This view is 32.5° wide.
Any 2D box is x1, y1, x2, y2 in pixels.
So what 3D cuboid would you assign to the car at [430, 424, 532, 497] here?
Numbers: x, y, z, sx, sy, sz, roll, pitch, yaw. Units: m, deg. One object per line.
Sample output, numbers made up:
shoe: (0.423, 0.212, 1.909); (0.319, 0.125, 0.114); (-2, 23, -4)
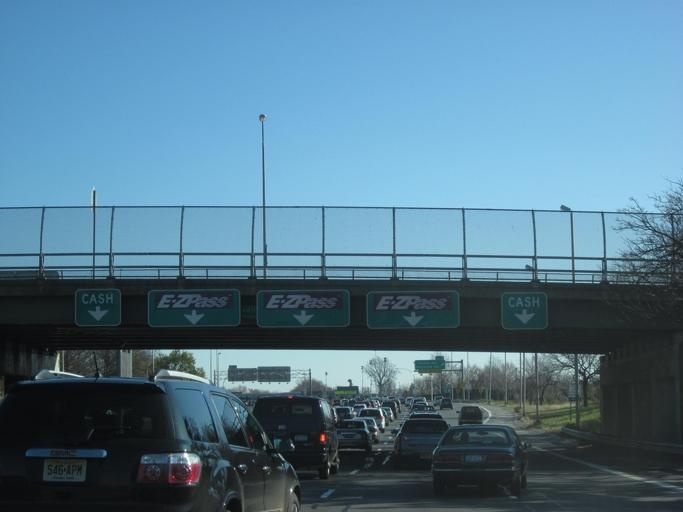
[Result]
car: (3.975, 5.862, 33.933); (2.718, 2.050, 2.066); (-1, -10, -3)
